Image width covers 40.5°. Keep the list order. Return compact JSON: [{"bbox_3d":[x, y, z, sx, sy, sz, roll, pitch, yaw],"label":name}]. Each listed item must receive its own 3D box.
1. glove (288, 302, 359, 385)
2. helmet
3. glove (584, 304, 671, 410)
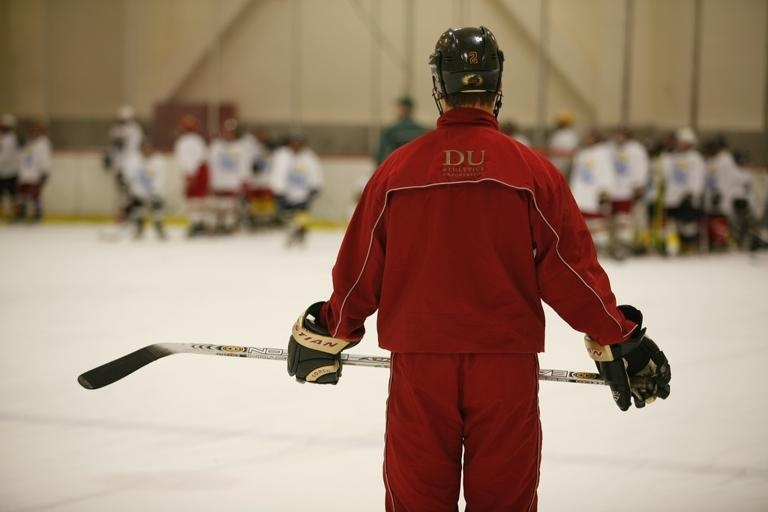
[{"bbox_3d":[-0.412,0.527,6.325,0.442,0.454,0.367,5,6,9],"label":"glove"},{"bbox_3d":[0.472,-1.126,6.099,0.354,0.541,0.504,1,11,4],"label":"helmet"},{"bbox_3d":[1.488,0.658,6.174,0.436,0.677,0.263,-20,17,39],"label":"glove"}]
